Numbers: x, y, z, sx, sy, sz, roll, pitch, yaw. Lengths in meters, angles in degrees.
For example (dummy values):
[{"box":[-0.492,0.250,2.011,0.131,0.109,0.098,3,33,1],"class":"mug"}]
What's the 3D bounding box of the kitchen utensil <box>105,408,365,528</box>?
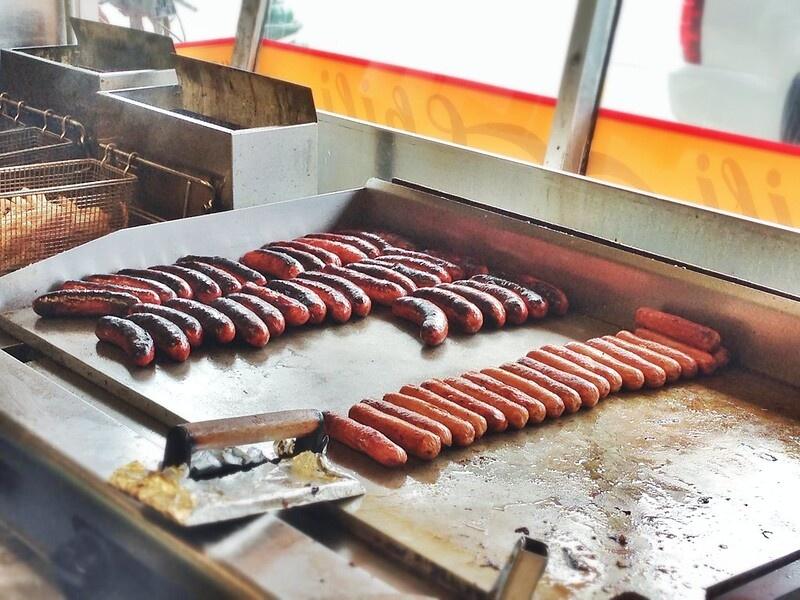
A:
[{"box":[-0.397,0.439,2.013,0.439,0.142,0.303,-6,14,-33],"class":"kitchen utensil"}]
